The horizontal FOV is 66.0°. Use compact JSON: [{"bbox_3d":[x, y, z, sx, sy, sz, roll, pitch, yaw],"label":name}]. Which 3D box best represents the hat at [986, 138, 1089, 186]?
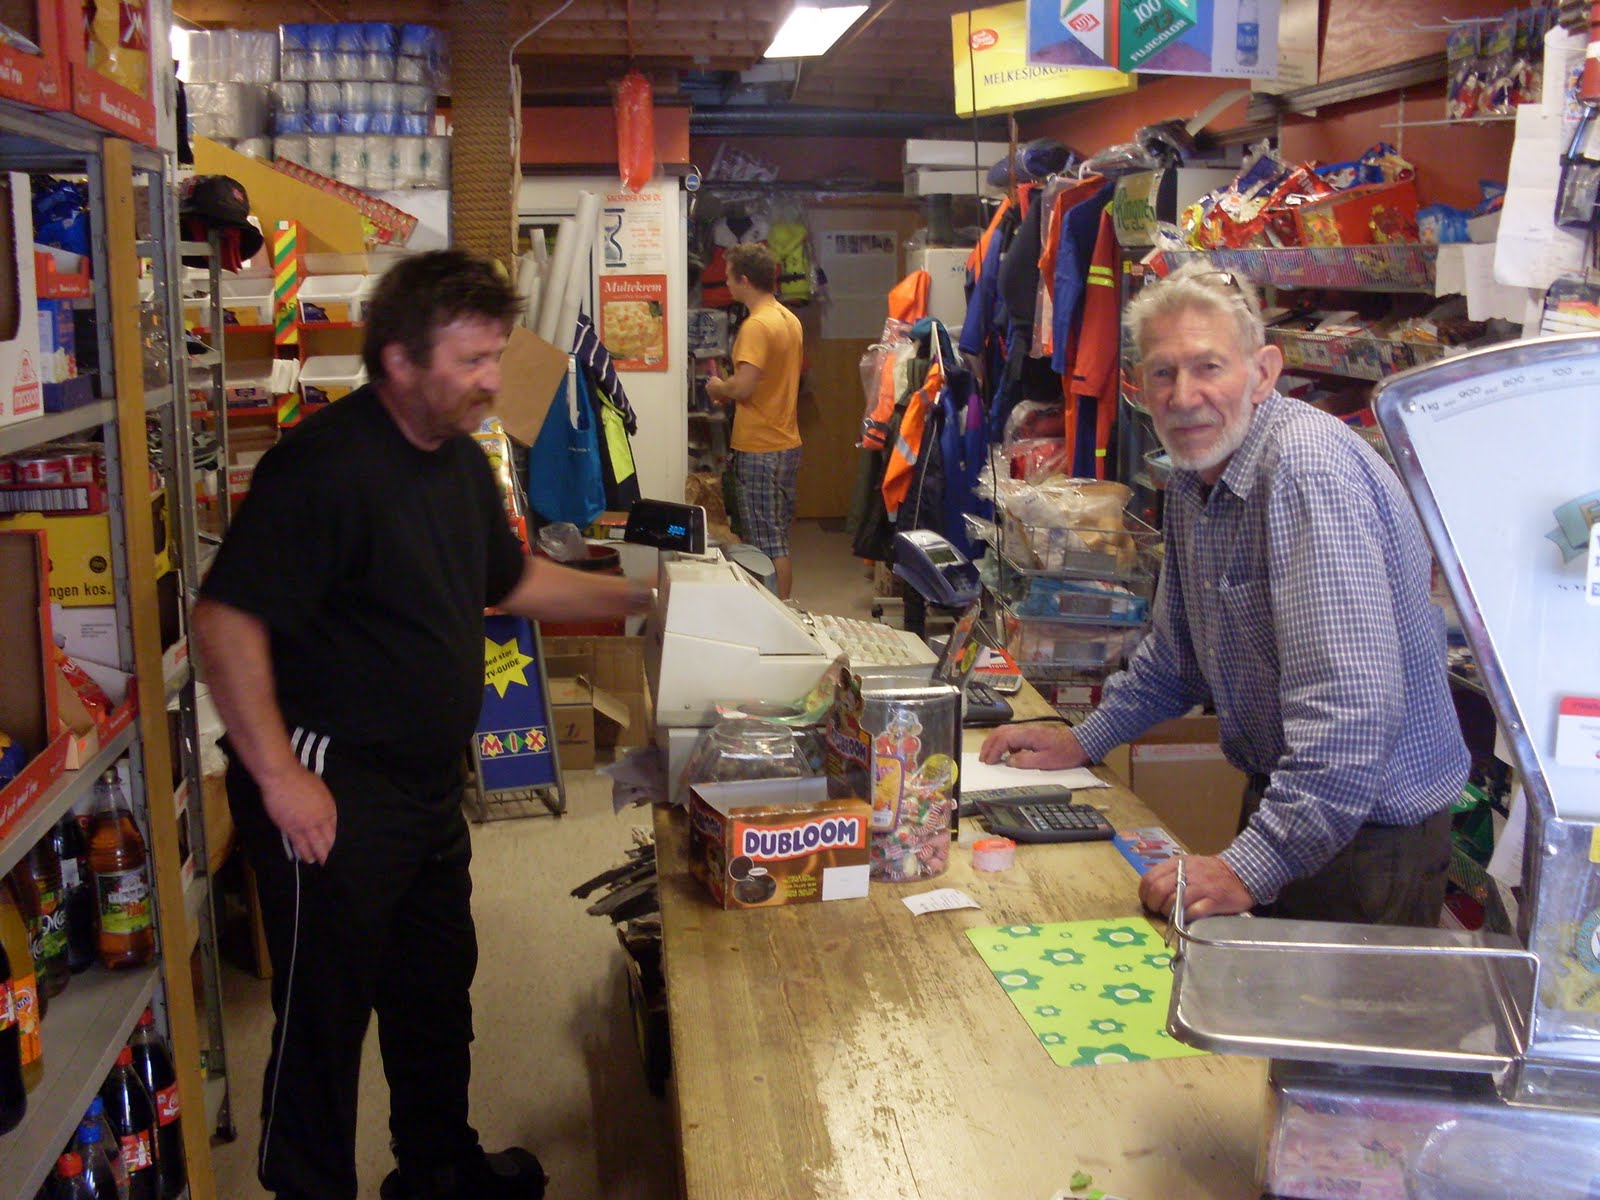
[{"bbox_3d":[1.214,-2.208,6.454,0.449,0.220,0.615,-9,5,0],"label":"hat"}]

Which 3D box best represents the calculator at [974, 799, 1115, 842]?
[{"bbox_3d":[0.497,0.451,2.514,0.146,0.030,0.106,-1,11,-7],"label":"calculator"}]

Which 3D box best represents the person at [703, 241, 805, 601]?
[{"bbox_3d":[-0.257,-1.037,7.370,0.535,2.087,0.530,-1,15,-3],"label":"person"}]

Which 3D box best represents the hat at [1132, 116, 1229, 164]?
[{"bbox_3d":[1.585,-1.901,5.153,0.303,0.217,0.707,7,17,26],"label":"hat"}]
